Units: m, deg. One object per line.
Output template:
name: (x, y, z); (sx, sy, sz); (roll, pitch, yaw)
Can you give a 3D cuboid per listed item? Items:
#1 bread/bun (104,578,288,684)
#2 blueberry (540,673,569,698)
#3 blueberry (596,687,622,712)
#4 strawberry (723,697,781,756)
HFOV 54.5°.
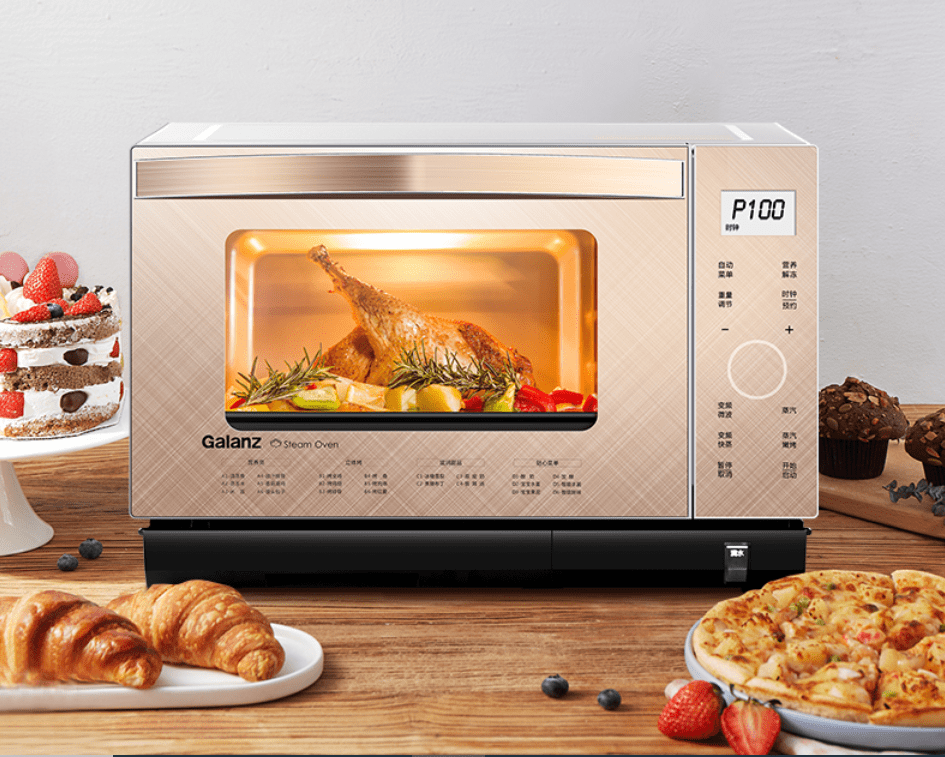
bread/bun: (-0.282, 0.248, 0.948); (0.225, 0.059, 0.107); (10, 15, 30)
blueberry: (0.080, 0.302, 0.903); (0.029, 0.016, 0.022); (1, -1, 1)
blueberry: (0.132, 0.310, 0.885); (0.022, 0.009, 0.021); (-1, 13, 0)
strawberry: (0.248, 0.312, 0.821); (0.055, 0.046, 0.018); (-3, -32, 18)
